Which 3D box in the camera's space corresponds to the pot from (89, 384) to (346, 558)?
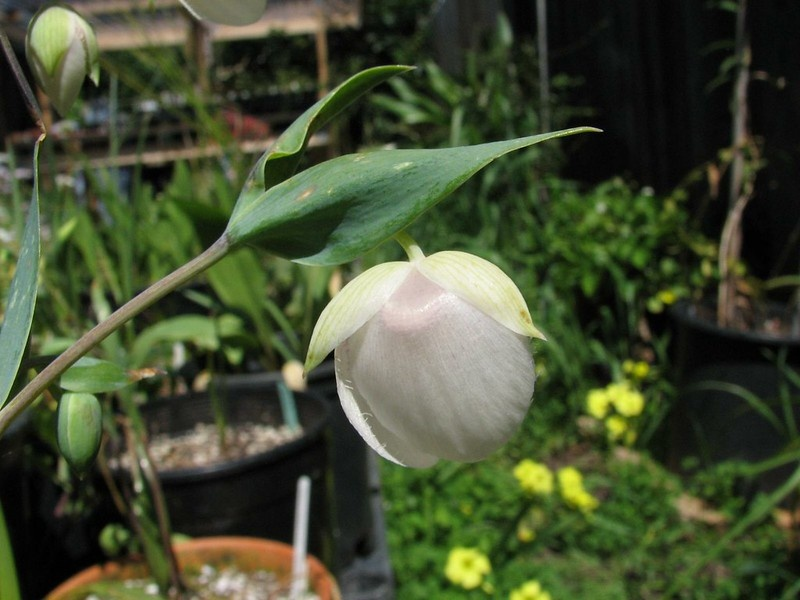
[{"bbox_3d":[-0.269,0.233,1.379,0.230,0.213,0.270,-4,5,-3],"label":"pot"}]
